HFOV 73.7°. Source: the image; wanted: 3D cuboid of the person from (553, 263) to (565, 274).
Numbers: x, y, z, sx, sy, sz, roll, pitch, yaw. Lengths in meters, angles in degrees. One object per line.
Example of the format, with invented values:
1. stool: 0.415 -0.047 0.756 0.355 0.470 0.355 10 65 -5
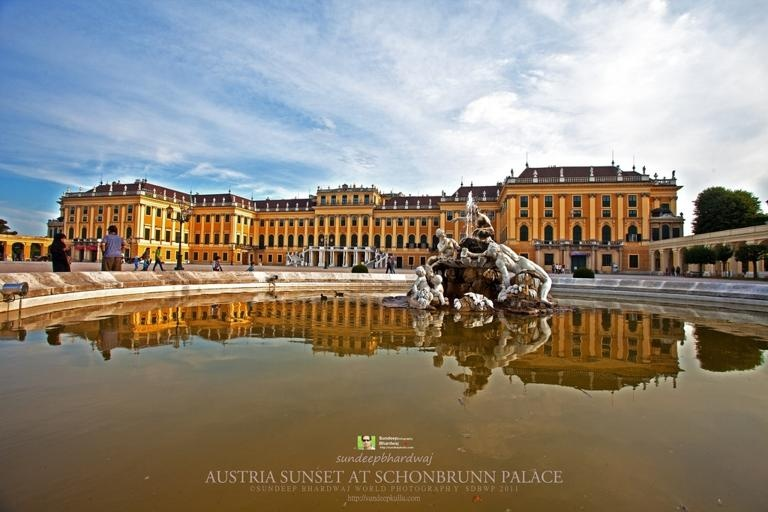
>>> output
1. person: 15.177 1.062 45.026 0.988 0.565 0.556 13 -17 -36

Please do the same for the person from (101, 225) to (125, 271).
1. person: -6.928 -0.203 13.155 0.470 1.210 1.383 1 1 -27
